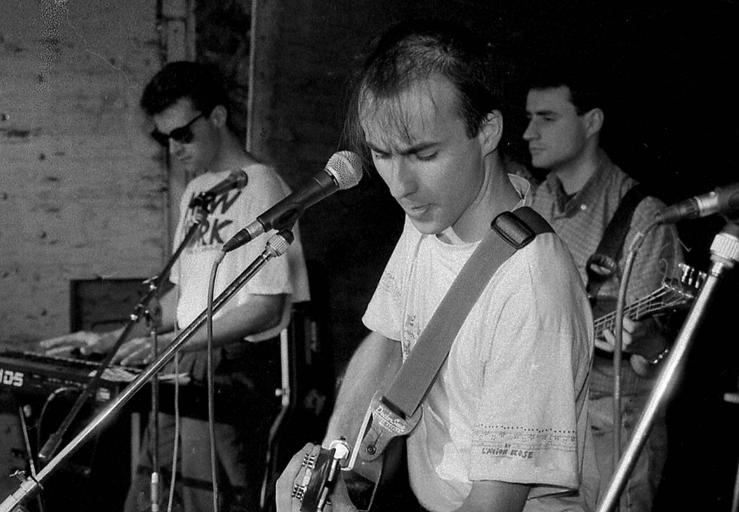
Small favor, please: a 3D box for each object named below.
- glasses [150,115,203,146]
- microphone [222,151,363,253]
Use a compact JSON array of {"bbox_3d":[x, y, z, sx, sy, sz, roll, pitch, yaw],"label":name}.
[{"bbox_3d":[-0.908,-0.573,3.947,0.165,0.062,0.168,-12,30,41],"label":"glasses"},{"bbox_3d":[-0.258,-0.176,2.884,0.561,0.148,0.146,-34,9,-12],"label":"microphone"}]
